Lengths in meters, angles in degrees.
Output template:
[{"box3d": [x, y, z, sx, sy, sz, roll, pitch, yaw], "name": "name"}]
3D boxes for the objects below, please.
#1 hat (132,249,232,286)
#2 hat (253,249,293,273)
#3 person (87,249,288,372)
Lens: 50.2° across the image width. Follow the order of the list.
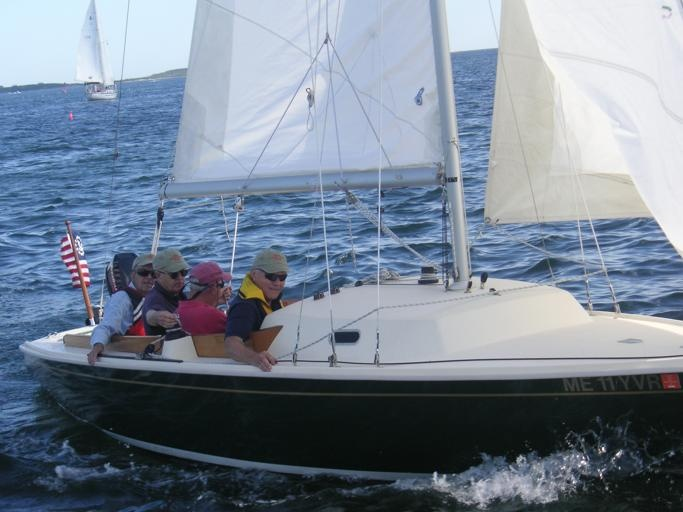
[{"box3d": [-1.236, 0.081, 5.606, 0.610, 0.136, 0.345, 5, 12, 9], "name": "hat"}, {"box3d": [-0.506, 0.035, 5.307, 0.168, 0.114, 0.232, 2, 2, -43], "name": "hat"}, {"box3d": [-1.322, 0.361, 5.700, 1.192, 0.509, 1.171, -4, -4, 37], "name": "person"}]
